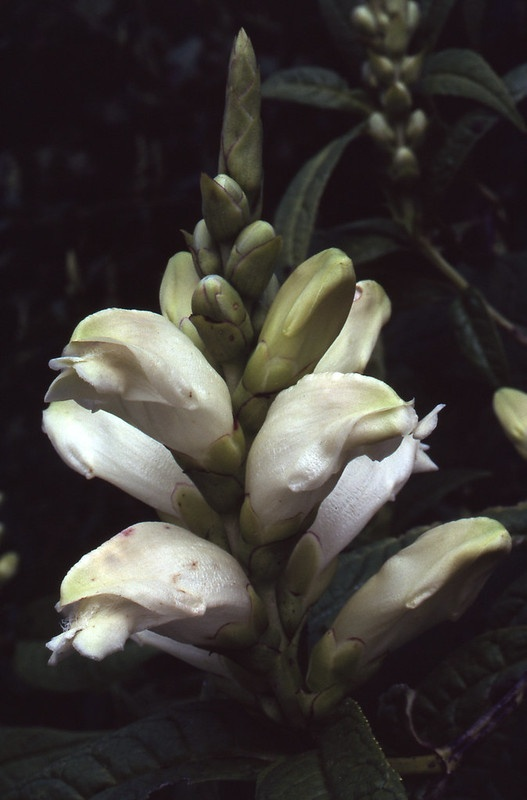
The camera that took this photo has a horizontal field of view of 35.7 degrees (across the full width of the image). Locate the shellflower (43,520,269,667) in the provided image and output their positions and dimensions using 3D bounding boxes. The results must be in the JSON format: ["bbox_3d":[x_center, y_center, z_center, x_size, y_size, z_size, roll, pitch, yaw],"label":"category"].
[{"bbox_3d":[-0.043,0.072,0.309,0.058,0.021,0.076,24,35,26],"label":"shellflower"}]

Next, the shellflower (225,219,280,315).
[{"bbox_3d":[-0.005,-0.052,0.330,0.021,0.032,0.016,30,27,10],"label":"shellflower"}]

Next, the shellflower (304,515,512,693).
[{"bbox_3d":[0.046,0.093,0.389,0.045,0.126,0.043,-18,70,-48],"label":"shellflower"}]

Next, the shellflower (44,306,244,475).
[{"bbox_3d":[-0.036,-0.009,0.320,0.093,0.054,0.037,-3,15,-6],"label":"shellflower"}]

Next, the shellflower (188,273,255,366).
[{"bbox_3d":[-0.014,-0.035,0.362,0.024,0.036,0.017,-9,34,19],"label":"shellflower"}]

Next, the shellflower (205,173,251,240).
[{"bbox_3d":[-0.015,-0.078,0.332,0.013,0.031,0.009,-6,69,13],"label":"shellflower"}]
